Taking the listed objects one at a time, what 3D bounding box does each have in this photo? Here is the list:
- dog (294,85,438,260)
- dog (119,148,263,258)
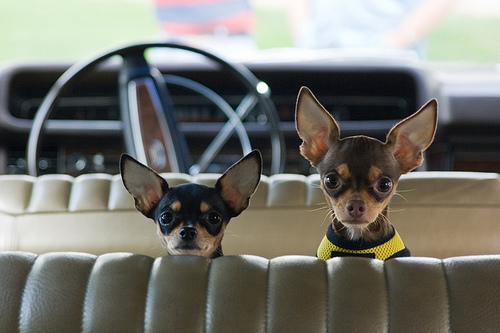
[{"bbox_3d":[0.596,0.195,3.722,0.676,1.127,0.639,3,5,11],"label":"dog"},{"bbox_3d":[-0.301,0.291,3.647,0.691,0.761,0.399,-1,-5,-1],"label":"dog"}]
